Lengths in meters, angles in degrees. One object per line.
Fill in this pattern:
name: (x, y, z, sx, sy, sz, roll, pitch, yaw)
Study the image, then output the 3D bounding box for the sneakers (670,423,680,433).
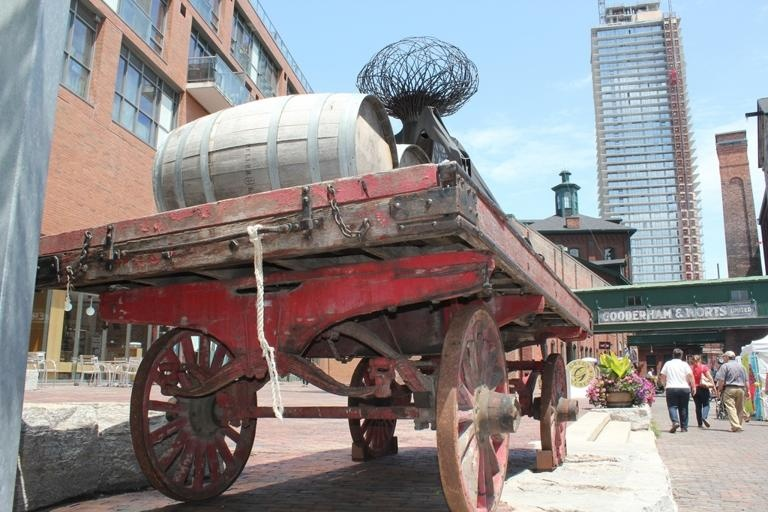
sneakers: (6.940, 4.110, 15.241, 0.217, 0.177, 0.439, -5, -18, 1)

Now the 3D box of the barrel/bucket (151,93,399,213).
barrel/bucket: (-1.133, -1.043, 6.273, 2.245, 1.065, 0.758, -6, -11, 13)

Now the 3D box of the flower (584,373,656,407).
flower: (5.413, 3.303, 15.423, 1.761, 0.820, 1.696, -2, -19, 3)

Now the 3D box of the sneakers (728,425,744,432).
sneakers: (8.558, 4.199, 15.535, 0.186, 0.147, 0.237, 9, -10, -32)

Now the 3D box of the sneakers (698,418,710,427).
sneakers: (8.459, 4.411, 16.853, 0.171, 0.201, 0.512, -7, -11, 15)

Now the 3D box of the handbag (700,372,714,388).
handbag: (8.231, 3.166, 16.255, 0.419, 0.435, 0.179, 13, -15, -27)

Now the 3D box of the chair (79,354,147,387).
chair: (-8.917, 3.679, 20.544, 2.309, 1.079, 1.729, -12, -14, 40)
